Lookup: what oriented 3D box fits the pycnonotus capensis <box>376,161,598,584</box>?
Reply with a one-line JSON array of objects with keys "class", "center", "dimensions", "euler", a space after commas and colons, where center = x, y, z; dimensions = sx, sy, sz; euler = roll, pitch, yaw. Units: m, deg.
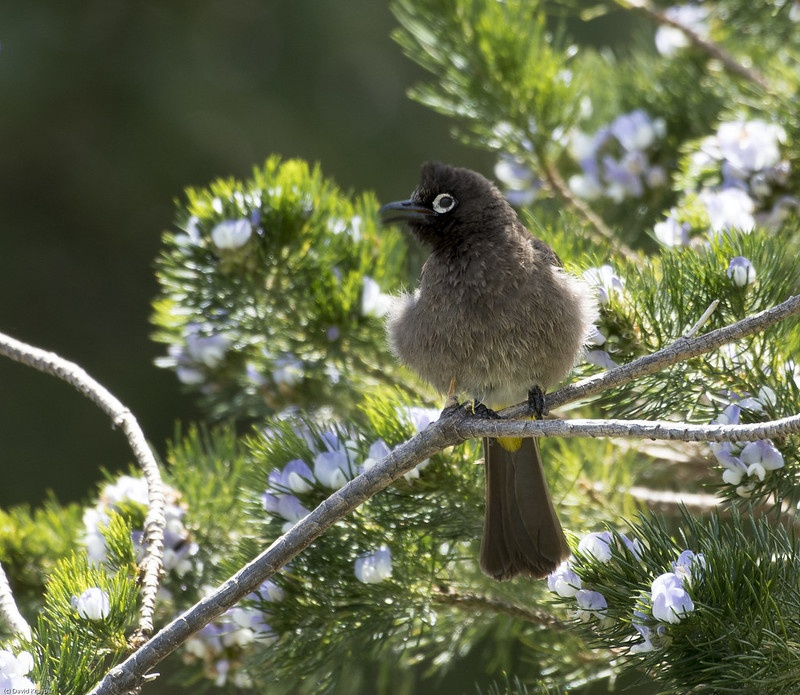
[{"class": "pycnonotus capensis", "center": [0.273, 0.043, 3.476], "dimensions": [0.506, 0.505, 1.173], "euler": [-6, -64, 5]}]
